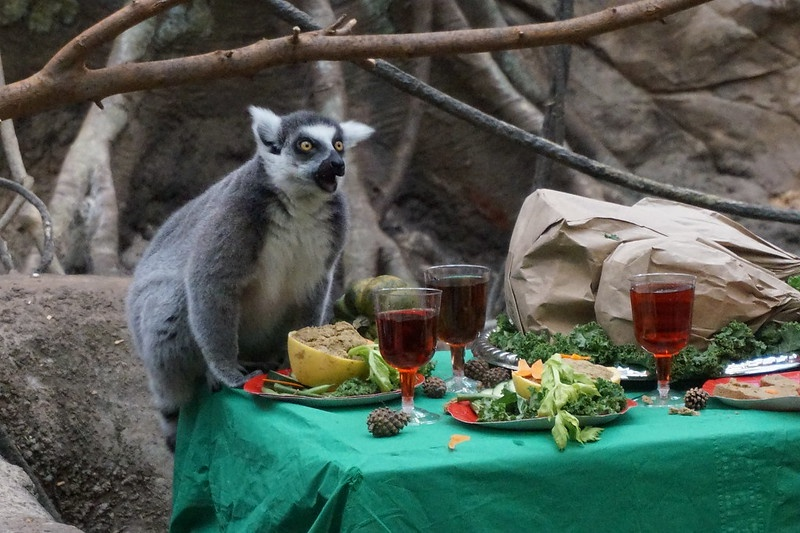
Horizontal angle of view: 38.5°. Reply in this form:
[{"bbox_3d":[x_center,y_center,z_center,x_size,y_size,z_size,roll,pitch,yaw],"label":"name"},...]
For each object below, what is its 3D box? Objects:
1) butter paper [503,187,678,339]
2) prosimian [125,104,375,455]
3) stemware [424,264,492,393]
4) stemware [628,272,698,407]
[{"bbox_3d":[1.181,-0.007,7.240,1.110,0.806,0.909,-3,22,2],"label":"butter paper"},{"bbox_3d":[-1.085,-0.055,8.277,1.718,2.411,1.570,-8,34,-14],"label":"prosimian"},{"bbox_3d":[0.372,0.383,7.087,0.343,0.708,0.465,2,3,4],"label":"stemware"},{"bbox_3d":[1.514,0.434,6.788,0.381,0.699,0.475,3,0,1],"label":"stemware"}]
